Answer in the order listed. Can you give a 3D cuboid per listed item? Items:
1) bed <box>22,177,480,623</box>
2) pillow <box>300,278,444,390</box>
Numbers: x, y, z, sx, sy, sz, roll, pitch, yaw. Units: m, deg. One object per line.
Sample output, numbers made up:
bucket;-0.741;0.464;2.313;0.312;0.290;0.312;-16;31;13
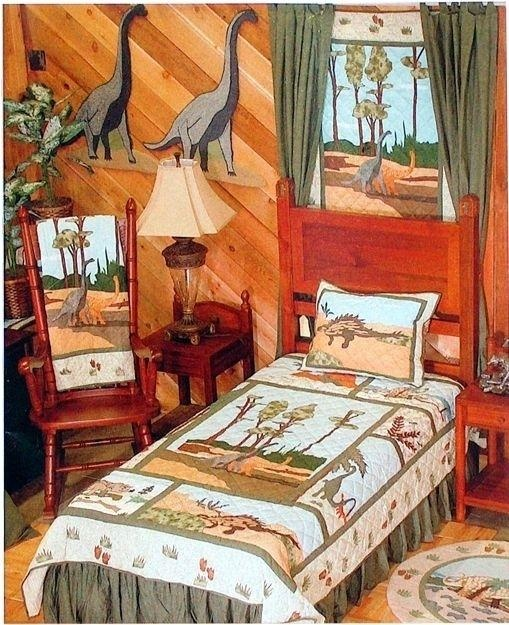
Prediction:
bed;0.045;0.222;2.411;1.167;1.500;2.081;7;21;31
pillow;0.599;0.112;2.745;0.434;0.326;0.125;9;-12;32
